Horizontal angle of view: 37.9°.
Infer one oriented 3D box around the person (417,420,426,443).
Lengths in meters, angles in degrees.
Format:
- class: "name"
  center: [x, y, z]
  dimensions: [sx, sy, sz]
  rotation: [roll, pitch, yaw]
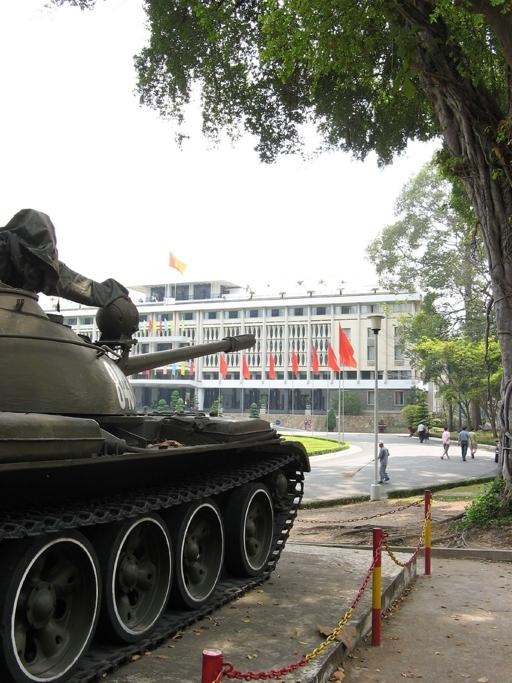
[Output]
- class: "person"
  center: [9.507, 5.300, 42.892]
  dimensions: [0.434, 1.065, 1.565]
  rotation: [-3, -3, 15]
